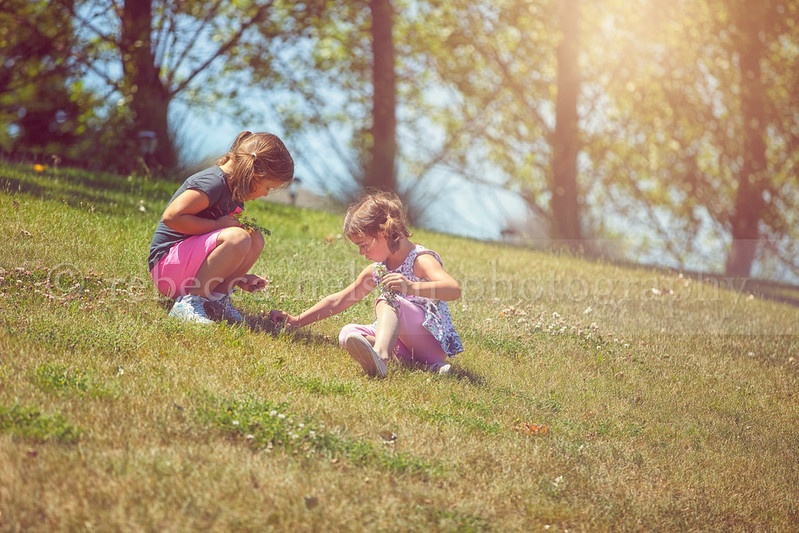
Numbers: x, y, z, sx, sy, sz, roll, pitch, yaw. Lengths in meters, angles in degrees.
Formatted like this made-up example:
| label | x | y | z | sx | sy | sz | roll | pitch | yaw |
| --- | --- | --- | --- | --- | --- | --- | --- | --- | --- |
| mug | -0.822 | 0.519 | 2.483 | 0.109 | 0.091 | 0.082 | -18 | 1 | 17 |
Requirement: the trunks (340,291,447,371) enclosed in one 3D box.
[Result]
| label | x | y | z | sx | sy | sz | roll | pitch | yaw |
| --- | --- | --- | --- | --- | --- | --- | --- | --- | --- |
| trunks | -0.022 | 0.466 | 8.491 | 0.421 | 0.295 | 0.742 | 10 | -1 | 40 |

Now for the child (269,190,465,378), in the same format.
| label | x | y | z | sx | sy | sz | roll | pitch | yaw |
| --- | --- | --- | --- | --- | --- | --- | --- | --- | --- |
| child | -0.205 | 0.152 | 8.669 | 1.218 | 1.359 | 1.339 | -2 | -2 | -22 |

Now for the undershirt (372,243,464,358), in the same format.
| label | x | y | z | sx | sy | sz | roll | pitch | yaw |
| --- | --- | --- | --- | --- | --- | --- | --- | --- | --- |
| undershirt | 0.221 | 0.275 | 8.612 | 0.754 | 1.041 | 0.612 | -4 | 2 | 8 |

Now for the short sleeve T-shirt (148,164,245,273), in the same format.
| label | x | y | z | sx | sy | sz | roll | pitch | yaw |
| --- | --- | --- | --- | --- | --- | --- | --- | --- | --- |
| short sleeve T-shirt | -1.478 | -0.321 | 8.741 | 0.358 | 0.693 | 0.686 | 25 | 10 | -5 |

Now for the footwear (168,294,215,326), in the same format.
| label | x | y | z | sx | sy | sz | roll | pitch | yaw |
| --- | --- | --- | --- | --- | --- | --- | --- | --- | --- |
| footwear | -1.479 | 0.313 | 8.454 | 0.396 | 0.184 | 0.154 | 5 | -2 | 32 |

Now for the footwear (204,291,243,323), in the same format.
| label | x | y | z | sx | sy | sz | roll | pitch | yaw |
| --- | --- | --- | --- | --- | --- | --- | --- | --- | --- |
| footwear | -1.230 | 0.305 | 8.611 | 0.357 | 0.165 | 0.135 | 1 | -3 | -8 |
